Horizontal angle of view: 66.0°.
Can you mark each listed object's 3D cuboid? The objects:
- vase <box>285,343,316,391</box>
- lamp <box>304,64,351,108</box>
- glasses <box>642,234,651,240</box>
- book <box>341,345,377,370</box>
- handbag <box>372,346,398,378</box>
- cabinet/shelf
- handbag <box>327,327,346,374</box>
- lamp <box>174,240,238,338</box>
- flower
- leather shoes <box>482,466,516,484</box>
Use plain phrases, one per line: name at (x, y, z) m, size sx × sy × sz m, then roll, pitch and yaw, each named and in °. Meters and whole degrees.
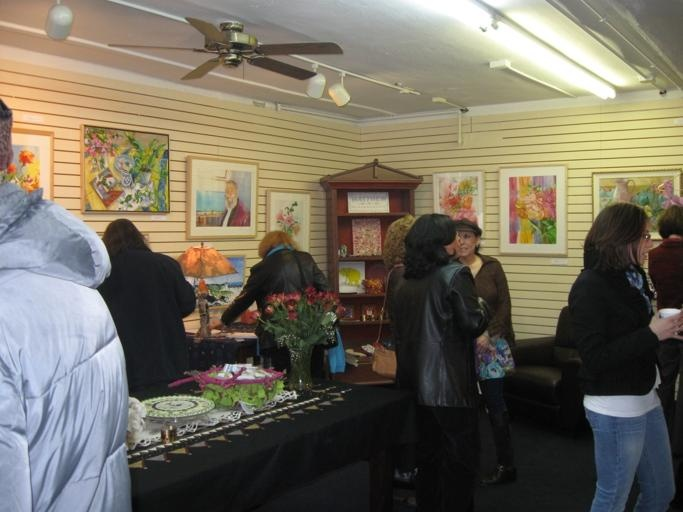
vase at (-0.247, 0.624, 2.944) m, size 0.170 × 0.235 × 0.169 m, roll -18°, pitch -15°, yaw 35°
lamp at (-0.131, -1.531, 4.720) m, size 0.379 × 0.329 × 0.148 m, roll 1°, pitch 13°, yaw -22°
glasses at (1.462, -0.092, 2.523) m, size 0.030 × 0.040 × 0.011 m, roll -6°, pitch -18°, yaw 35°
book at (0.161, 0.897, 4.711) m, size 0.233 × 0.125 × 0.375 m, roll 1°, pitch 1°, yaw 5°
handbag at (0.281, 0.770, 3.774) m, size 0.245 × 0.190 × 0.138 m, roll 19°, pitch -21°, yaw -29°
cabinet/shelf at (0.400, -0.045, 6.762) m, size 1.200 × 2.192 × 0.460 m, roll -1°, pitch 7°, yaw -4°
handbag at (-0.013, 0.798, 4.369) m, size 0.098 × 0.316 × 0.134 m, roll -6°, pitch -3°, yaw -25°
lamp at (-1.296, 0.320, 4.980) m, size 0.553 × 0.806 × 0.560 m, roll 0°, pitch 1°, yaw 34°
flower at (-0.227, 0.445, 3.084) m, size 0.556 × 0.538 × 0.503 m, roll 0°, pitch -6°, yaw -5°
leather shoes at (1.165, 1.674, 4.055) m, size 0.323 × 0.134 × 0.108 m, roll -4°, pitch 2°, yaw 11°
